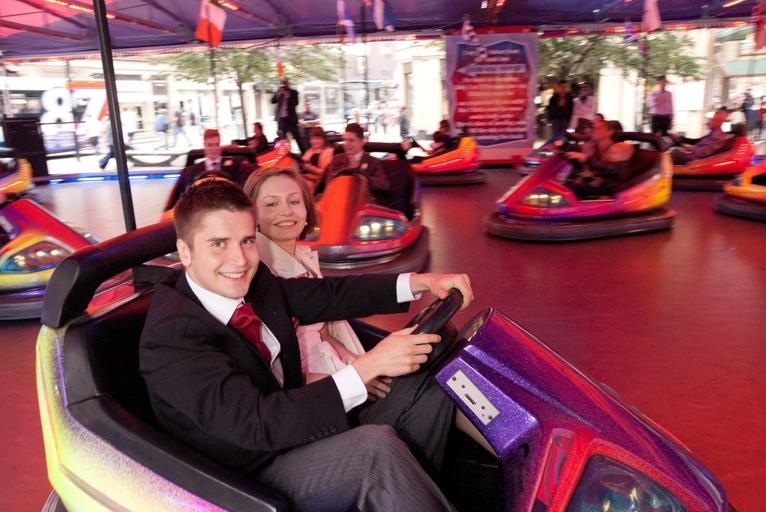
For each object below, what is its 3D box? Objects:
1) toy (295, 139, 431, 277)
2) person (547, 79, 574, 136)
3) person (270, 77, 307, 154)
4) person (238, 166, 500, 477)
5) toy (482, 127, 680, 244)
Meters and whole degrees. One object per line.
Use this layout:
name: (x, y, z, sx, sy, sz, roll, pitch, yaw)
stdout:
toy: (-0.166, -0.365, 3.484, 1.011, 0.605, 1.322, 3, 26, 5)
person: (2.400, -1.889, 7.261, 0.369, 0.896, 0.292, -6, 4, -5)
person: (-1.256, -1.852, 7.131, 0.430, 0.910, 0.322, -6, 11, -10)
person: (-0.292, 0.057, 1.512, 0.523, 0.538, 1.009, -17, 24, -21)
toy: (1.495, -0.551, 4.045, 1.502, 0.580, 0.934, -6, 19, -9)
